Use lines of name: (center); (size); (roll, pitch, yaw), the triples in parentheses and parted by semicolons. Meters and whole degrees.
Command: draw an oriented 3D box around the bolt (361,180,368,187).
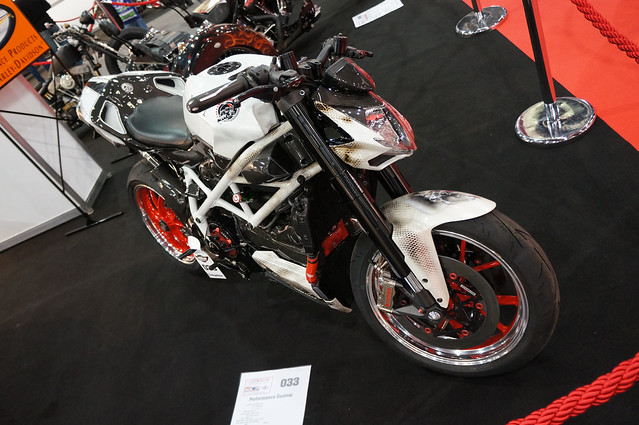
bolt: (0.258, -0.163, 2.646); (0.019, 0.026, 0.044); (-19, 39, -38)

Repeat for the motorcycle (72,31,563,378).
motorcycle: (-0.335, -0.199, 3.239); (3.505, 1.928, 1.262); (15, 39, 37)

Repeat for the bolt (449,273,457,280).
bolt: (0.729, 0.344, 2.568); (0.030, 0.030, 0.010); (19, 27, 16)

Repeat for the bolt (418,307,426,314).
bolt: (0.558, 0.529, 2.559); (0.020, 0.026, 0.047); (-4, 8, -33)

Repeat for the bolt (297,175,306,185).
bolt: (-0.094, -0.180, 2.561); (0.040, 0.041, 0.038); (12, 2, 10)

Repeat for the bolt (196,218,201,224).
bolt: (-0.780, 0.052, 3.041); (0.025, 0.025, 0.007); (22, 51, 22)
